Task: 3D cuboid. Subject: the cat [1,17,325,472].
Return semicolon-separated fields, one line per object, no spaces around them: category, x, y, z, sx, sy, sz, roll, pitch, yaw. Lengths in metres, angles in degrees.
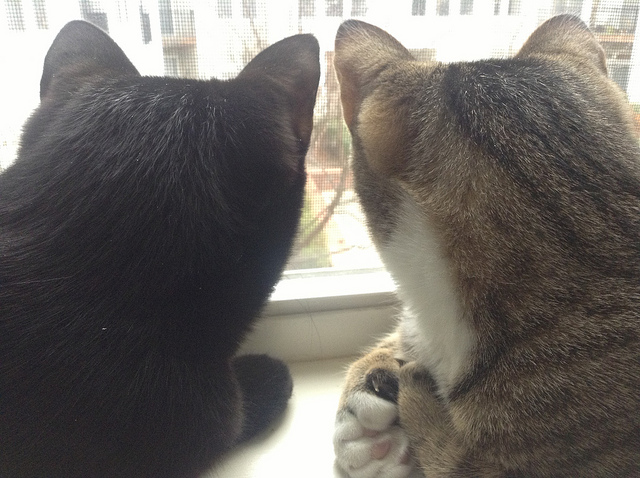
cat;-0.207;0.028;0.861;0.389;0.541;0.369;3;29;4
